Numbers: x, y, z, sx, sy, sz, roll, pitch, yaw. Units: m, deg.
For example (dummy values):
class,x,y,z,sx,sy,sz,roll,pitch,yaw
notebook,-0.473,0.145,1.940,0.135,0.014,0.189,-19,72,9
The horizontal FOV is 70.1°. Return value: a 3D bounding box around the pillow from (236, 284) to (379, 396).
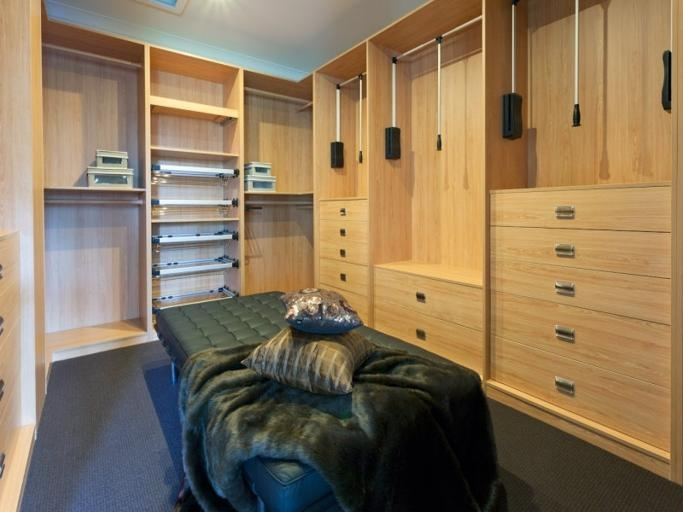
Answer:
class,x,y,z,sx,sy,sz,roll,pitch,yaw
pillow,-0.129,0.461,2.497,0.460,0.200,0.545,10,31,16
